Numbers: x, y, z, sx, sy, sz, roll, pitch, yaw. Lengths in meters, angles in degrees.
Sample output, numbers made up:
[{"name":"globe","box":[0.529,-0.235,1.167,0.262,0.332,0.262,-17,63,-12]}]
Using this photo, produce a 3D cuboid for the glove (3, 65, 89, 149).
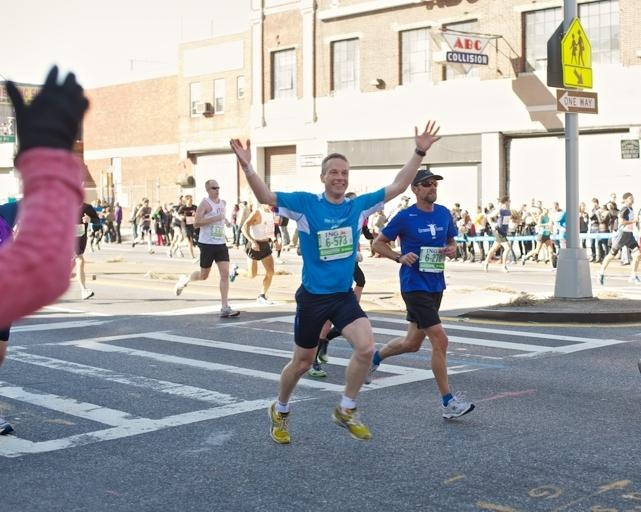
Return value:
[{"name":"glove","box":[-0.549,-0.299,1.376,0.159,0.177,0.086,-1,3,-20]}]

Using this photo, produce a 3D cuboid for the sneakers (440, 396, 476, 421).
[{"name":"sneakers","box":[1.141,1.311,5.895,0.341,0.175,0.134,-10,16,28]}]

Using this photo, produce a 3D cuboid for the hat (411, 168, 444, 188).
[{"name":"hat","box":[0.987,-0.742,6.313,0.250,0.132,0.177,-10,-1,33]}]

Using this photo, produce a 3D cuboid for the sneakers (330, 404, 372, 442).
[{"name":"sneakers","box":[0.250,1.257,5.192,0.127,0.151,0.374,-1,21,-45]}]

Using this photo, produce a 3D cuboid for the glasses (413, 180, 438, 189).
[{"name":"glasses","box":[0.974,-0.669,6.313,0.138,0.045,0.101,-14,-5,28]}]

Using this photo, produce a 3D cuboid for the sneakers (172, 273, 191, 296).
[{"name":"sneakers","box":[-3.006,0.630,14.834,0.204,0.466,0.160,26,18,-3]}]

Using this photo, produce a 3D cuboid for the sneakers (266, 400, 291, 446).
[{"name":"sneakers","box":[-0.292,1.293,5.311,0.116,0.336,0.143,4,-32,-43]}]

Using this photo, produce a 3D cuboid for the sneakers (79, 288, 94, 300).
[{"name":"sneakers","box":[-4.778,0.770,14.055,0.171,0.203,0.497,-1,3,-12]}]

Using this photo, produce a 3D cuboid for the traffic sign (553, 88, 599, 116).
[{"name":"traffic sign","box":[4.667,-2.860,12.416,1.048,0.443,0.290,-2,4,-27]}]

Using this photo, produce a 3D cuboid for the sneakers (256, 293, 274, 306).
[{"name":"sneakers","box":[-0.988,0.821,13.076,0.422,0.183,0.136,3,8,-25]}]

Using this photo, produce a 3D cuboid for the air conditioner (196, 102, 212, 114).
[{"name":"air conditioner","box":[-6.896,-8.892,40.458,0.443,0.654,1.295,-3,5,-42]}]
